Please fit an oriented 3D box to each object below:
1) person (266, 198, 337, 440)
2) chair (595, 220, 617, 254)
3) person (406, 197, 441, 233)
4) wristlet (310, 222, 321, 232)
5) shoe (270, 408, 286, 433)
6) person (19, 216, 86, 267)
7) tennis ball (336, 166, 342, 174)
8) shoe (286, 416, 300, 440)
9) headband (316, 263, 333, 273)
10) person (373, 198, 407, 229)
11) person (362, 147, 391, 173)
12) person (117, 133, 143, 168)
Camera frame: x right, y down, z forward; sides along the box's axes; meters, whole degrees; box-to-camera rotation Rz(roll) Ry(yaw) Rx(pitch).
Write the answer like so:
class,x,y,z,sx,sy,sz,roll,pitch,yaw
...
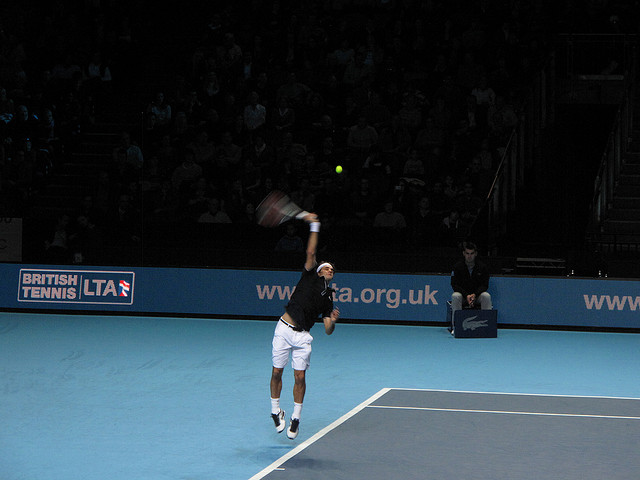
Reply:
class,x,y,z,sx,sy,sz,roll,pitch,yaw
person,-0.219,0.976,7.459,0.796,2.839,0.715,-1,5,-11
chair,7.120,-0.109,15.441,0.502,0.755,1.459,2,4,25
person,2.507,-0.605,15.134,0.591,0.853,1.292,4,5,40
wristlet,-0.053,-0.152,7.509,0.109,0.102,0.093,5,-2,7
shoe,-0.488,2.135,7.324,0.148,0.293,0.174,0,5,-5
person,-6.695,0.127,15.993,1.426,1.357,0.332,-1,-2,-3
tennis ball,0.515,-1.856,16.459,0.157,0.185,0.161,2,-25,1
shoe,-0.301,2.188,7.212,0.101,0.132,0.302,12,42,-12
headband,0.036,0.320,7.522,0.103,0.026,0.105,-45,8,-34
person,1.727,-0.583,15.284,0.820,0.734,0.438,-2,-1,2
person,1.531,-2.059,16.534,0.725,0.512,0.328,1,5,7
person,-5.191,-2.445,16.898,0.570,0.980,1.839,-1,4,-18
